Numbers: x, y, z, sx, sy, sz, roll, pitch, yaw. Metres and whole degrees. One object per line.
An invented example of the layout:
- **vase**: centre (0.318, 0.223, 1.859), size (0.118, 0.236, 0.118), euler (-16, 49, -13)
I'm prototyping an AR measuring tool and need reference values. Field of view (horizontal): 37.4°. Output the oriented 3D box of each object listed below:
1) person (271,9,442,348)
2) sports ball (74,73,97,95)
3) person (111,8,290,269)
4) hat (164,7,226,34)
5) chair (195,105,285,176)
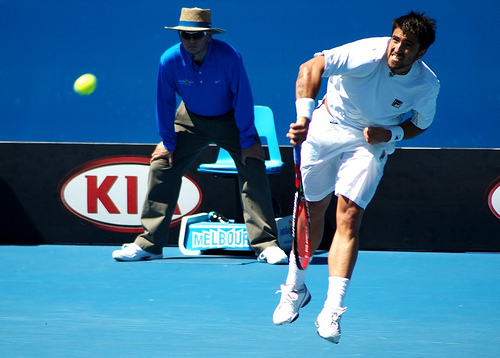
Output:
- **person**: centre (0.821, -0.062, 5.984), size (1.242, 2.531, 0.868), euler (-13, 20, -42)
- **sports ball**: centre (-1.859, -1.065, 8.282), size (0.288, 0.165, 0.233), euler (-26, 7, -10)
- **person**: centre (-0.458, -0.403, 7.440), size (1.538, 2.556, 0.513), euler (2, 15, 7)
- **hat**: centre (-0.542, -1.616, 7.502), size (0.527, 0.196, 0.542), euler (1, 0, 3)
- **chair**: centre (-0.162, -0.390, 8.039), size (0.953, 0.704, 0.890), euler (-6, 2, -1)
